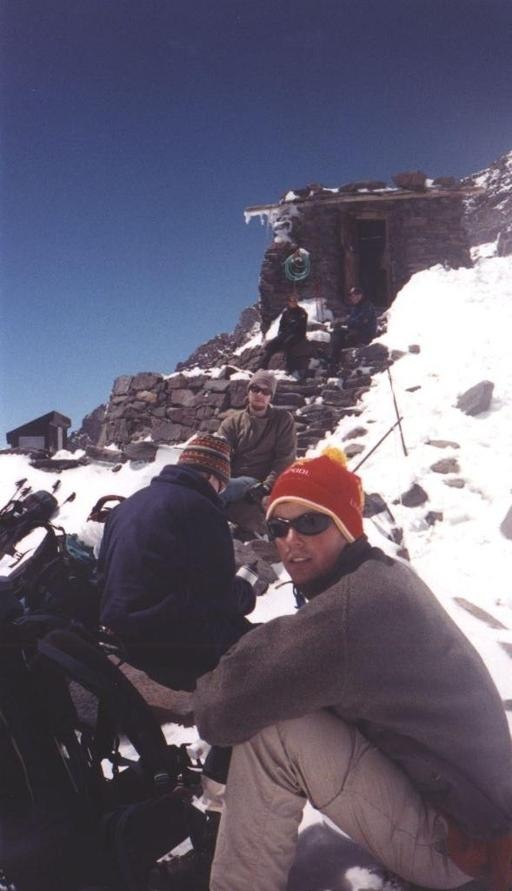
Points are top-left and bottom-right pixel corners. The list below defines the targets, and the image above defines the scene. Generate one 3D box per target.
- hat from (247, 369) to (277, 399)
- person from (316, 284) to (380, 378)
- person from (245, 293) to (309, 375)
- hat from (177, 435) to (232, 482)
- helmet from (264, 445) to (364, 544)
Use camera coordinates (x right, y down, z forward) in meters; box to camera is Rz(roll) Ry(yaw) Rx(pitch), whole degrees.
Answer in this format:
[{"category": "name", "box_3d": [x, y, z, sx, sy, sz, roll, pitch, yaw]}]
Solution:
[{"category": "hat", "box_3d": [0.046, -0.513, 6.290, 0.175, 0.190, 0.242, 19, -12, 2]}, {"category": "person", "box_3d": [1.298, -1.568, 10.110, 0.540, 1.238, 1.391, 9, 6, 13]}, {"category": "person", "box_3d": [0.448, -1.515, 10.241, 0.546, 1.036, 1.001, 4, 7, -30]}, {"category": "hat", "box_3d": [-0.239, 0.046, 3.573, 0.197, 0.227, 0.252, 18, 8, -4]}, {"category": "helmet", "box_3d": [0.252, 0.190, 2.740, 0.345, 0.309, 0.249, 24, -23, -34]}]
